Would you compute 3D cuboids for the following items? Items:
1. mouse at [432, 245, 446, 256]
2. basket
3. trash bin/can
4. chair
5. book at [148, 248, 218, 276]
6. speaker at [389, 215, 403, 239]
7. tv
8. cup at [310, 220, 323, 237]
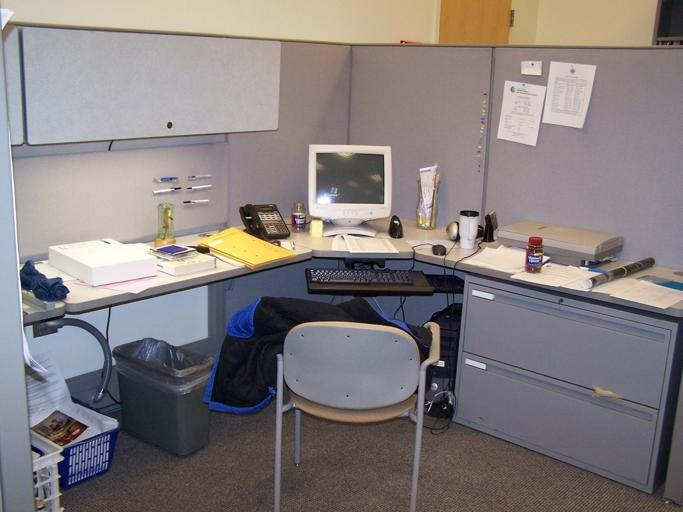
[{"bbox_3d":[0.505,-0.040,2.778,0.043,0.020,0.062,7,32,11],"label":"mouse"},{"bbox_3d":[-1.113,0.845,2.330,0.199,0.211,0.290,-7,14,-43],"label":"basket"},{"bbox_3d":[-0.833,0.678,2.536,0.408,0.359,0.271,11,16,31],"label":"trash bin/can"},{"bbox_3d":[0.043,0.618,2.117,0.672,0.934,0.360,0,17,5],"label":"chair"},{"bbox_3d":[-0.721,0.018,2.444,0.152,0.039,0.167,23,30,36],"label":"book"},{"bbox_3d":[0.294,-0.157,3.002,0.077,0.092,0.125,-1,20,0],"label":"speaker"},{"bbox_3d":[0.071,-0.323,3.232,0.650,0.687,0.365,0,0,-4],"label":"tv"},{"bbox_3d":[-0.137,-0.154,3.020,0.076,0.110,0.110,0,10,-6],"label":"cup"}]
